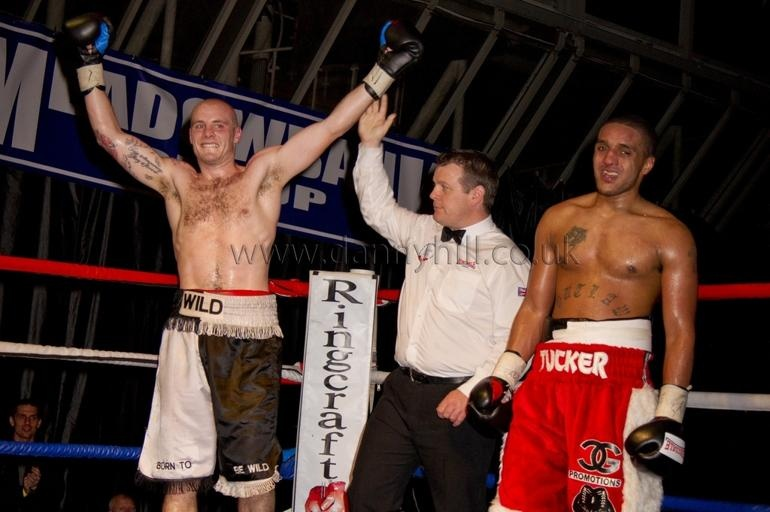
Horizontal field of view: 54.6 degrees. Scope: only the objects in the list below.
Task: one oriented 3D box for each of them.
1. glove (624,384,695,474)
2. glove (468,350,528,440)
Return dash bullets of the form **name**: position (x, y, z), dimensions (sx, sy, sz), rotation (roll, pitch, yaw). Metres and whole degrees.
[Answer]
- **glove**: position (1.439, 0.905, 3.927), dimensions (0.326, 0.465, 0.099), rotation (5, -8, -10)
- **glove**: position (0.639, 0.770, 4.266), dimensions (0.425, 0.293, 0.184), rotation (-40, 15, -29)
